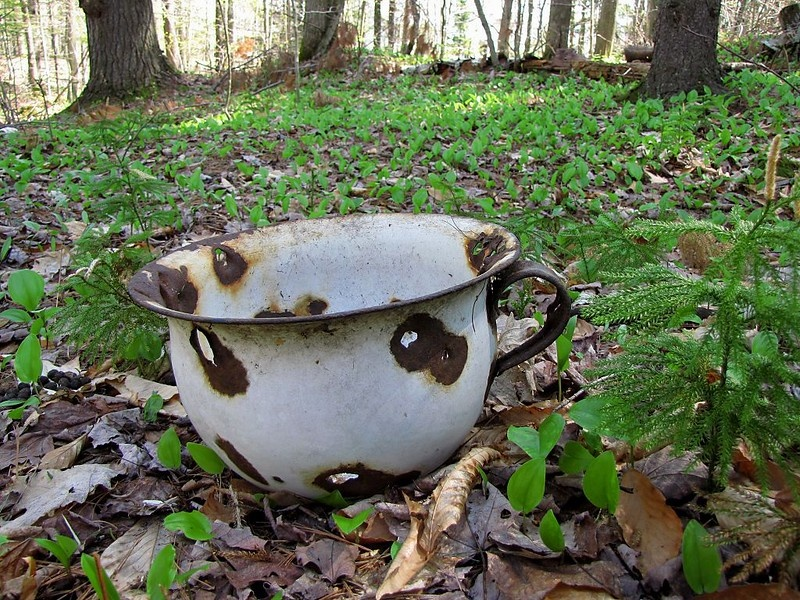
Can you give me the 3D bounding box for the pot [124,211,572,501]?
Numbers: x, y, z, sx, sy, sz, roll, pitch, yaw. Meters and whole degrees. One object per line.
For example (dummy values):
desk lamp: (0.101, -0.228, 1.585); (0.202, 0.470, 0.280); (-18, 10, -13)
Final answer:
pot: (-0.135, 0.175, 2.470); (1.322, 0.682, 1.184); (0, 17, 7)
